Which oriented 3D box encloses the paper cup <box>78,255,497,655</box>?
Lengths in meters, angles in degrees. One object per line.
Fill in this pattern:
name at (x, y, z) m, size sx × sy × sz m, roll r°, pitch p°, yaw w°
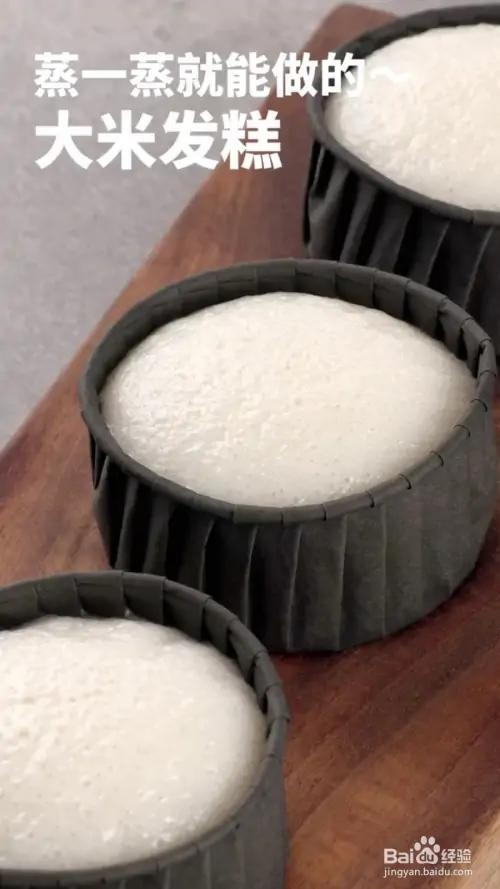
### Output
paper cup at (0.015, 0.032, 0.746) m, size 0.366 × 0.387 × 0.174 m, roll -18°, pitch -46°, yaw -15°
